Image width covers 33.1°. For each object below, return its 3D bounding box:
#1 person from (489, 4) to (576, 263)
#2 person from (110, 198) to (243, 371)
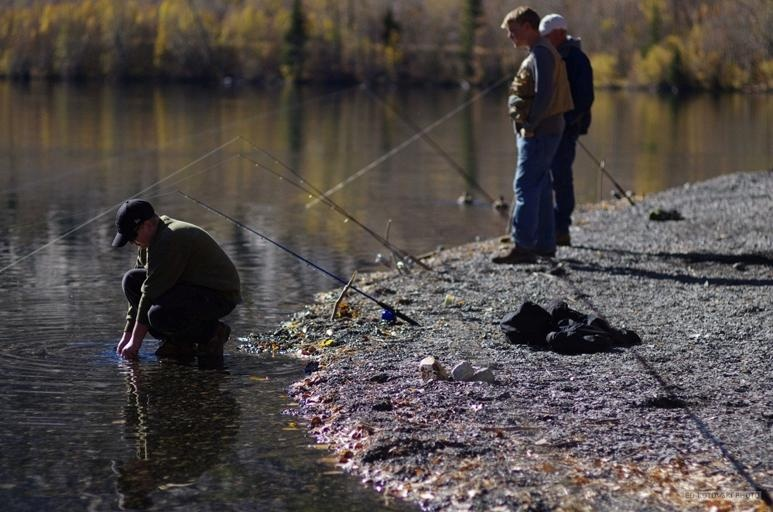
[{"bbox_3d":[1.559,-1.295,14.039,0.762,2.749,0.504,-13,17,-39],"label":"person"},{"bbox_3d":[-2.008,0.223,12.365,1.188,1.568,0.404,-3,13,-6],"label":"person"}]
